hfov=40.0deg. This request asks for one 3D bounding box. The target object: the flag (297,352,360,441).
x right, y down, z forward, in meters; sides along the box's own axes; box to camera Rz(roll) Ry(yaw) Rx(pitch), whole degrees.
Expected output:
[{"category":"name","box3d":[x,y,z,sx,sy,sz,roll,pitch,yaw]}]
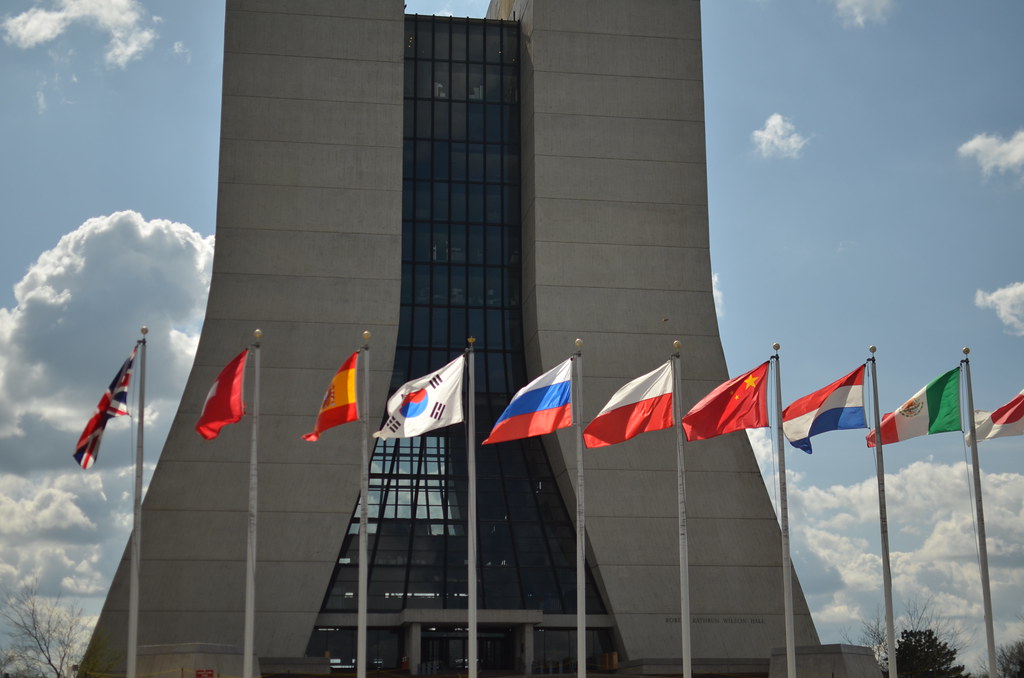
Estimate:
[{"category":"flag","box3d":[-8.041,2.464,64.848,1.874,4.600,5.600,4,-22,-10]}]

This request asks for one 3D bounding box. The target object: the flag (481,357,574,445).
[{"category":"flag","box3d":[1.118,2.345,63.157,2.990,4.305,3.967,9,-17,-20]}]

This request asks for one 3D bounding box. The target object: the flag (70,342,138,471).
[{"category":"flag","box3d":[-14.957,2.979,51.840,1.404,5.279,1.427,11,-21,-28]}]

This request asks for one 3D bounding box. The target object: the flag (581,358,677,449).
[{"category":"flag","box3d":[5.426,2.827,62.491,4.231,3.885,0.445,-11,-39,20]}]

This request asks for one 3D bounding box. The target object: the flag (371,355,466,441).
[{"category":"flag","box3d":[-3.681,2.544,62.716,3.287,3.464,0.463,-4,-21,11]}]

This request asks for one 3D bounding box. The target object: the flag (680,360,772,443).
[{"category":"flag","box3d":[9.801,2.677,62.008,3.526,3.151,0.684,-5,-21,13]}]

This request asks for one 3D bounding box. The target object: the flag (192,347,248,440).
[{"category":"flag","box3d":[-12.905,2.254,63.412,1.585,3.988,3.171,9,-23,-22]}]

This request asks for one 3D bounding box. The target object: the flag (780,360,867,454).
[{"category":"flag","box3d":[14.214,2.992,63.131,3.535,3.114,0.872,-9,-23,22]}]
